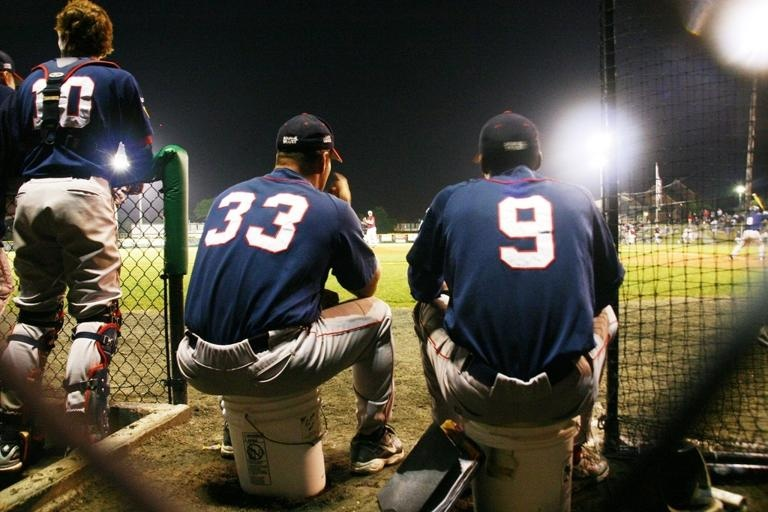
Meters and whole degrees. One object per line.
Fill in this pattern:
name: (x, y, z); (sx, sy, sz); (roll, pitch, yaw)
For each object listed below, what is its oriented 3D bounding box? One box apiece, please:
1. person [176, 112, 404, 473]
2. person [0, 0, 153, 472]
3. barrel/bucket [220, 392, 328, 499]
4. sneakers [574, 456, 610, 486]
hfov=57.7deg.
person: (-0.593, 0.249, 4.385); (1.333, 2.281, 0.549); (-4, 6, -24)
person: (-2.044, -0.204, 4.633); (1.019, 3.042, 0.760); (-3, 6, -18)
barrel/bucket: (-0.629, 1.147, 4.532); (0.664, 0.637, 0.630); (0, 1, 0)
sneakers: (1.309, 1.366, 4.428); (0.282, 0.126, 0.118); (0, -5, -22)
